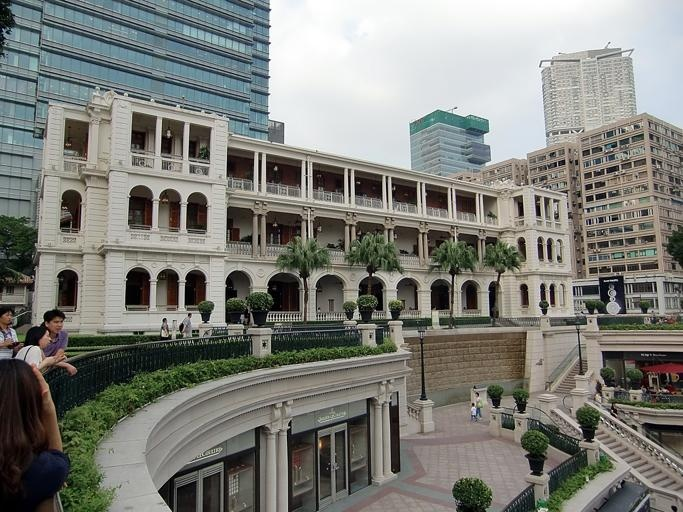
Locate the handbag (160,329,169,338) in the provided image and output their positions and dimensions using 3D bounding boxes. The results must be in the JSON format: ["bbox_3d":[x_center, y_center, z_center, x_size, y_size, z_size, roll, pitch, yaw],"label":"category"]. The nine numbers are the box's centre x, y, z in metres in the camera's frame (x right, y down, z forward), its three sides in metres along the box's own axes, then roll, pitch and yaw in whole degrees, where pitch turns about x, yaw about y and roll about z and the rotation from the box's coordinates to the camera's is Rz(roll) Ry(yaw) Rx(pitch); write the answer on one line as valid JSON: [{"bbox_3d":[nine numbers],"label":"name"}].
[{"bbox_3d":[-8.968,3.931,27.164,0.490,0.450,0.826,3,-1,-18],"label":"handbag"}]

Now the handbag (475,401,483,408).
[{"bbox_3d":[8.867,9.588,34.539,0.475,0.449,0.292,-4,-11,7],"label":"handbag"}]

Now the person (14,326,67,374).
[{"bbox_3d":[-7.246,2.305,12.805,1.190,1.204,0.829,0,-13,-19],"label":"person"}]

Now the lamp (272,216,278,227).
[{"bbox_3d":[-5.800,-2.950,46.801,0.579,0.773,1.283,-1,-6,-6],"label":"lamp"}]
